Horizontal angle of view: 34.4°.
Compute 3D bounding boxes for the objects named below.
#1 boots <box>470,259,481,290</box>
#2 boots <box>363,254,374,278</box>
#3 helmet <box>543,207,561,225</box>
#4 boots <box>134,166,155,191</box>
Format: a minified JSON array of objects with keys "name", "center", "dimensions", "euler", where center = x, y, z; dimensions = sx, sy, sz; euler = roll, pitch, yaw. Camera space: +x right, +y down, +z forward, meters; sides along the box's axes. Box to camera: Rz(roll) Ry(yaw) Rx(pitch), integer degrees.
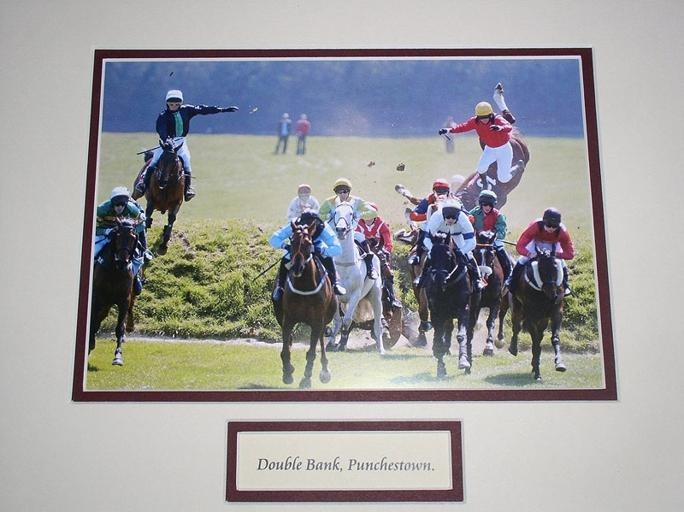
[{"name":"boots","center":[1.046,0.143,8.656],"dimensions":[0.067,0.260,0.076],"euler":[-12,-11,5]},{"name":"boots","center":[0.216,0.072,8.854],"dimensions":[0.053,0.203,0.110],"euler":[-4,-13,17]},{"name":"helmet","center":[1.647,-0.311,8.663],"dimensions":[0.100,0.113,0.142],"euler":[7,31,7]},{"name":"boots","center":[-1.565,-0.612,8.730],"dimensions":[0.095,0.173,0.043],"euler":[1,-20,29]}]
